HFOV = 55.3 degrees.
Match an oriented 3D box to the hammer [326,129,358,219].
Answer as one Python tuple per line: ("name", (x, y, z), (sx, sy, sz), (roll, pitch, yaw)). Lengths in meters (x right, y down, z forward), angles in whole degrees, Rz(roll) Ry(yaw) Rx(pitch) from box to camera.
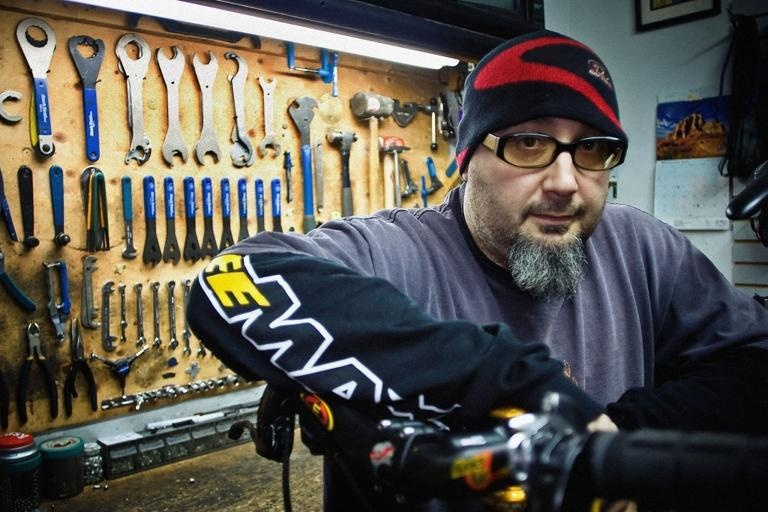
("hammer", (-0.202, -0.421, 3.814), (0.154, 0.443, 0.067), (-5, 5, -35))

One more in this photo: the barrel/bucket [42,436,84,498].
("barrel/bucket", (-1.376, 0.894, 3.117), (0.199, 0.210, 0.196), (3, 2, 0))

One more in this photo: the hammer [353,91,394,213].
("hammer", (-0.063, -0.567, 3.900), (0.185, 0.563, 0.146), (-6, 15, -29))
